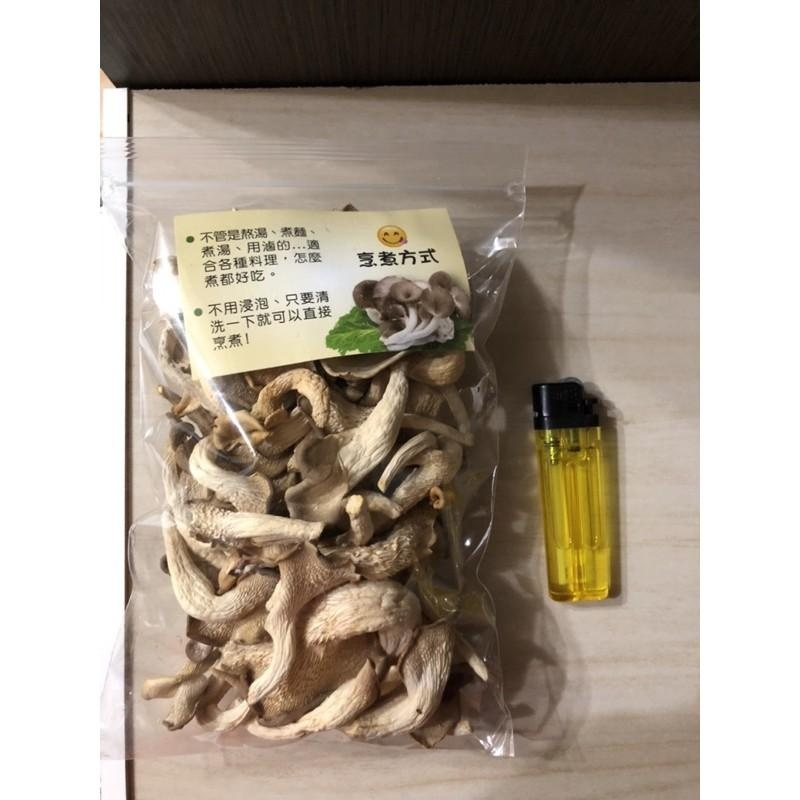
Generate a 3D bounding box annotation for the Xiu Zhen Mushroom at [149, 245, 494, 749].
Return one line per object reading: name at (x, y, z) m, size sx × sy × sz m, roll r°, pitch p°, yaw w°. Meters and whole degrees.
Xiu Zhen Mushroom at (-0.083, 0.062, 0.764) m, size 0.358 × 0.352 × 0.158 m, roll 2°, pitch 7°, yaw -12°
